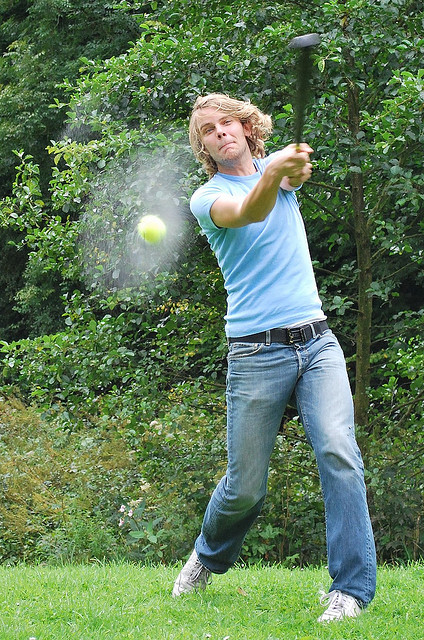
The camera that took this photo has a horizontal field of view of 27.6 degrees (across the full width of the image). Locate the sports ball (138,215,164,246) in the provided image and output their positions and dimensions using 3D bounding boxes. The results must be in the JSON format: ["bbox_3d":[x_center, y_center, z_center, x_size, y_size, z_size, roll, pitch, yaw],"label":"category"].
[{"bbox_3d":[-0.384,-0.595,5.511,0.135,0.148,0.130,1,52,-2],"label":"sports ball"}]

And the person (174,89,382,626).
[{"bbox_3d":[0.231,0.128,3.520,0.725,1.756,0.925,5,-2,-43],"label":"person"}]
